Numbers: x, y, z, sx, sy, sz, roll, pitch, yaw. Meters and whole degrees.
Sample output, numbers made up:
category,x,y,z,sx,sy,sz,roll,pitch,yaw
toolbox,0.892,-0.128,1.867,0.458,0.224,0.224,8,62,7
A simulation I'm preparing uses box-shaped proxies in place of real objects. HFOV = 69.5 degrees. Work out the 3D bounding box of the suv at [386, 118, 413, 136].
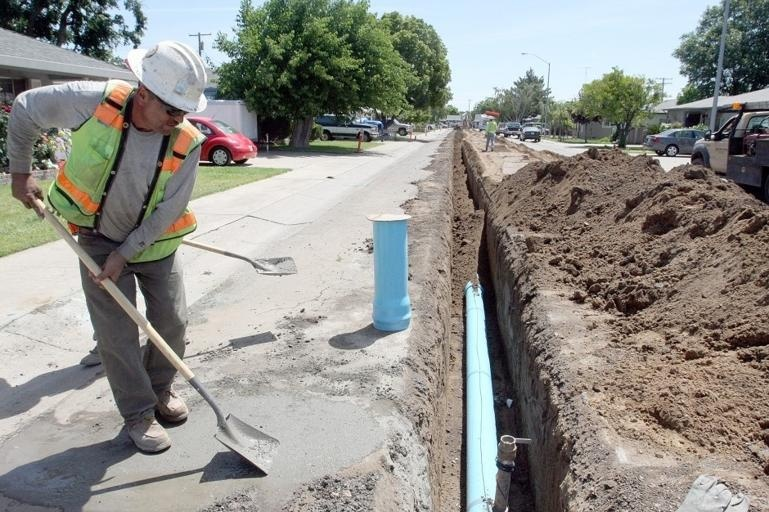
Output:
category,x,y,z,sx,sy,sz,roll,pitch,yaw
suv,0.947,-11.580,50.029,3.175,1.499,1.757,-1,33,4

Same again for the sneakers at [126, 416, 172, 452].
category,x,y,z,sx,sy,sz,roll,pitch,yaw
sneakers,-1.821,1.363,4.356,0.416,0.205,0.180,6,17,30

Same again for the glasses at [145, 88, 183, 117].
category,x,y,z,sx,sy,sz,roll,pitch,yaw
glasses,-1.617,-1.125,4.116,0.276,0.167,0.140,-1,20,-26

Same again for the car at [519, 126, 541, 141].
category,x,y,z,sx,sy,sz,roll,pitch,yaw
car,12.757,-10.661,48.808,1.274,1.011,2.913,1,17,8

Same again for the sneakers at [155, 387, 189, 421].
category,x,y,z,sx,sy,sz,roll,pitch,yaw
sneakers,-1.770,1.240,4.616,0.160,0.157,0.334,-9,18,-44

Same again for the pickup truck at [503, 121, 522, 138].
category,x,y,z,sx,sy,sz,roll,pitch,yaw
pickup truck,12.849,-12.924,56.342,1.133,1.056,3.006,0,8,5
